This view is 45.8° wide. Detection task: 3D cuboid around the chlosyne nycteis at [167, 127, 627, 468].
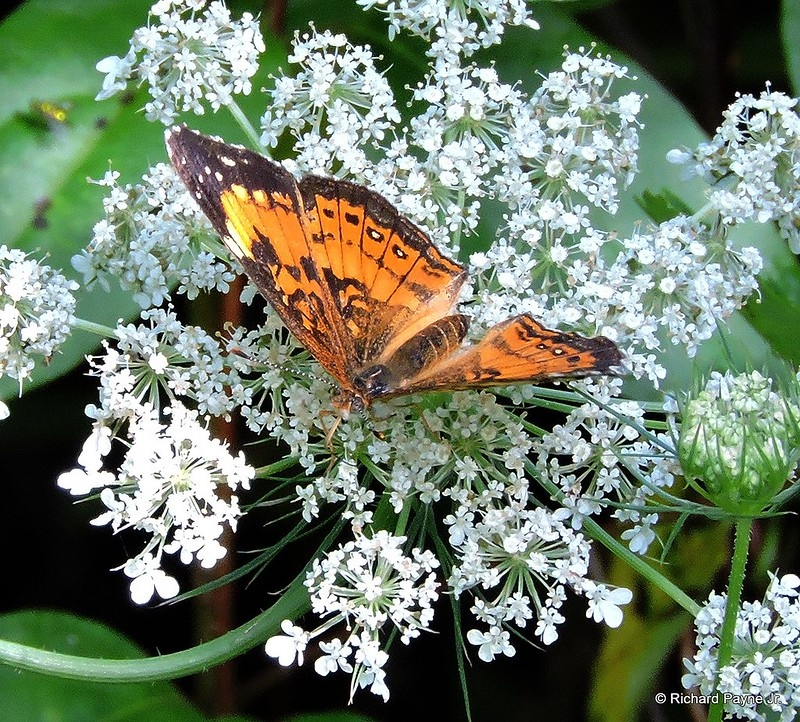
[{"bbox_3d":[-0.015,-0.142,1.388,0.616,0.416,0.305,-7,43,14],"label":"chlosyne nycteis"}]
